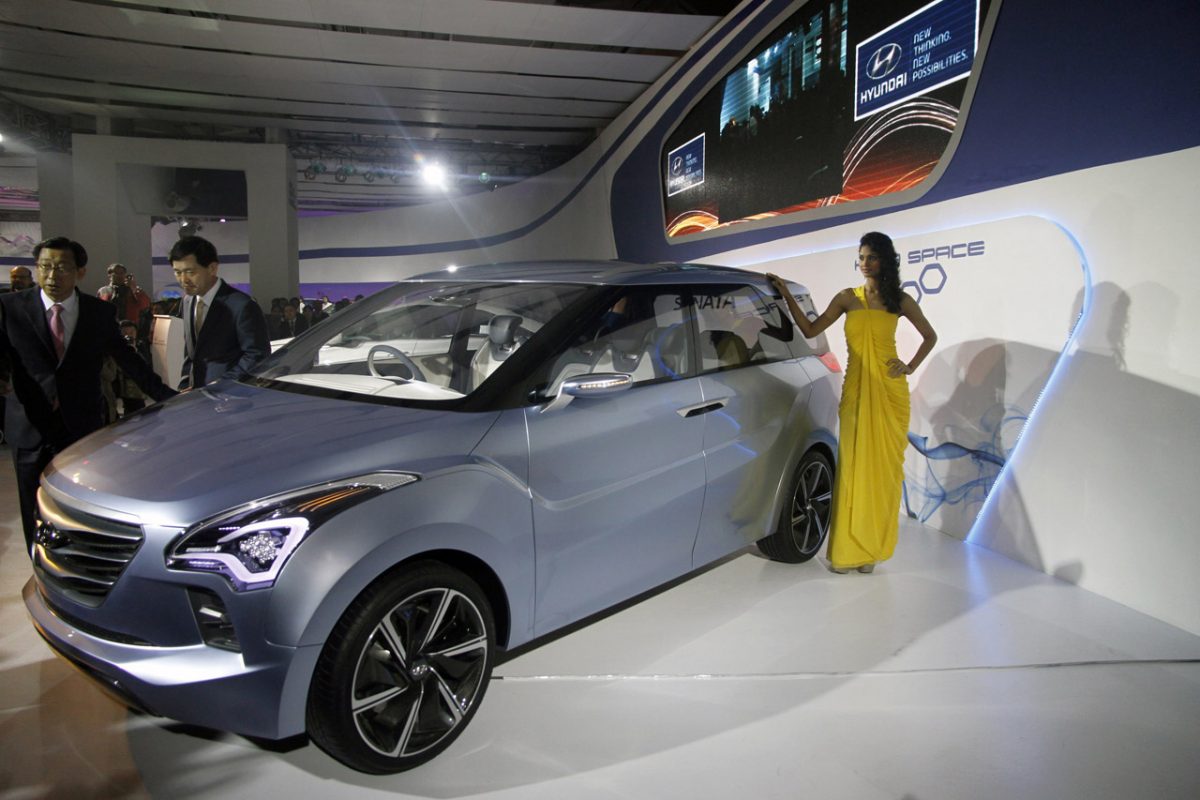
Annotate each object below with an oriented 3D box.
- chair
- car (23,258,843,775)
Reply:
[{"bbox_3d":[0.077,-0.268,3.646,0.787,0.334,0.609,-8,16,-27],"label":"chair"},{"bbox_3d":[-0.452,0.422,3.740,3.618,1.524,2.311,-6,9,-43],"label":"car"}]
